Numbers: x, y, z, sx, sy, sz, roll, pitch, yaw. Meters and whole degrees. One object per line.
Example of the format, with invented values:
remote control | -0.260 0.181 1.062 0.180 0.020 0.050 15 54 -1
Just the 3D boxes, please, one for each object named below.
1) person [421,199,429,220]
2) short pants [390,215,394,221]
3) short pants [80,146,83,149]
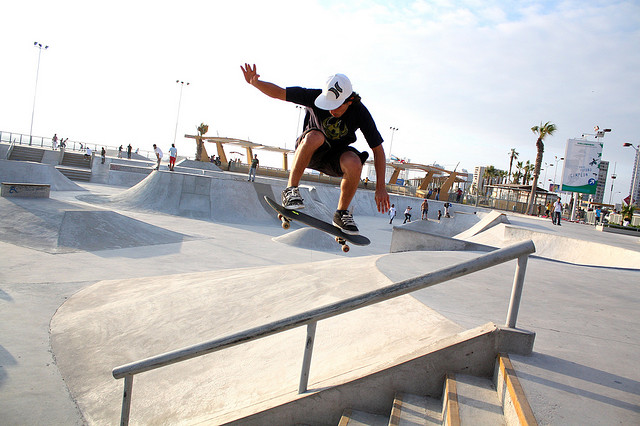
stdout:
person | 6.569 -0.175 24.099 0.363 1.261 2.283 6 8 14
short pants | 4.962 0.303 26.602 0.343 0.426 0.136 9 45 16
short pants | -20.683 -5.663 33.544 0.110 0.223 0.383 3 8 -11
